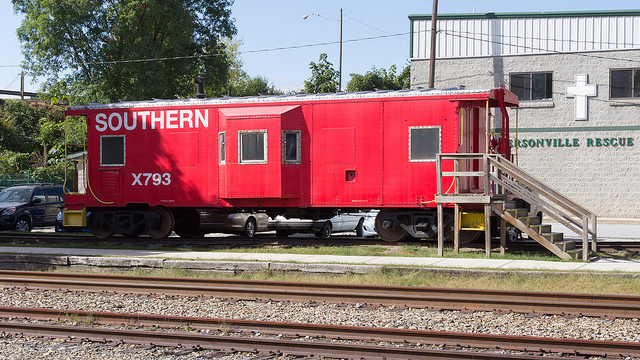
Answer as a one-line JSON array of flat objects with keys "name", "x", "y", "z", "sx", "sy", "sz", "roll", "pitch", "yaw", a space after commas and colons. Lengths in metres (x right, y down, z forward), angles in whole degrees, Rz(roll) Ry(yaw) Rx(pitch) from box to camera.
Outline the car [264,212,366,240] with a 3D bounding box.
[{"name": "car", "x": -0.020, "y": 2.175, "z": 37.352, "sx": 1.876, "sy": 1.193, "sz": 4.140, "roll": 0, "pitch": 1, "yaw": 39}]

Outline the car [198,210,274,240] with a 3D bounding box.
[{"name": "car", "x": -4.184, "y": 2.237, "z": 36.443, "sx": 4.559, "sy": 1.424, "sz": 1.915, "roll": -2, "pitch": 0, "yaw": -5}]
